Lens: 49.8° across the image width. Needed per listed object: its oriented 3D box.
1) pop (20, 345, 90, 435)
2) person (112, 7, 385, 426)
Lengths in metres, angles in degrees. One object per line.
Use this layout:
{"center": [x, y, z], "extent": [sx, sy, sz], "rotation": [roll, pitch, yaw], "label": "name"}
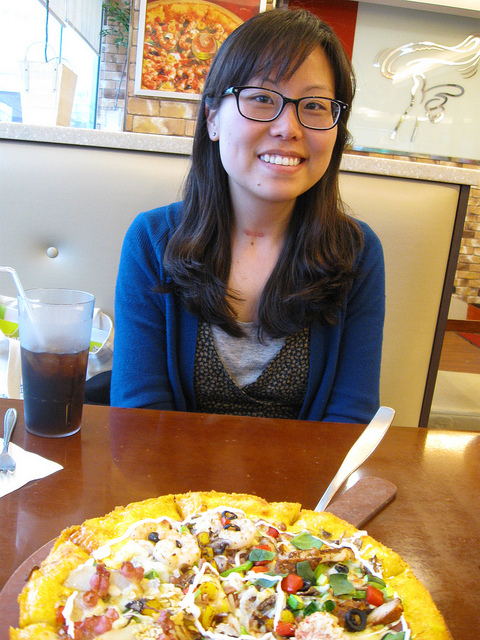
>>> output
{"center": [-0.229, 0.087, 0.711], "extent": [0.098, 0.149, 0.102], "rotation": [-1, 2, -9], "label": "pop"}
{"center": [0.057, -0.192, 1.117], "extent": [0.628, 0.818, 0.345], "rotation": [4, 7, -11], "label": "person"}
